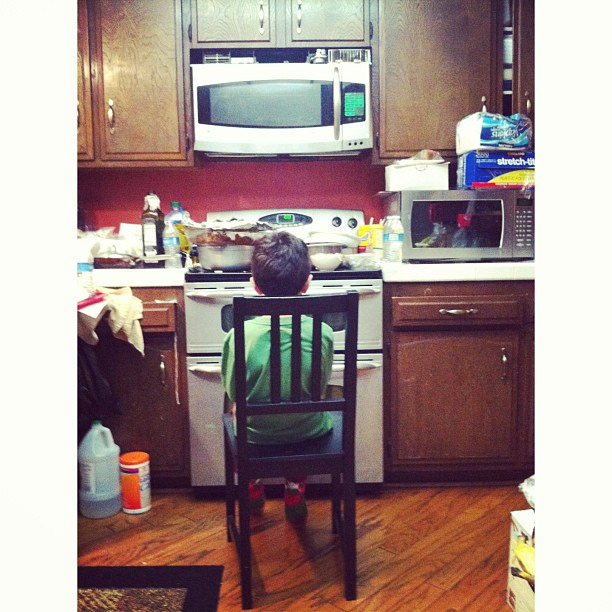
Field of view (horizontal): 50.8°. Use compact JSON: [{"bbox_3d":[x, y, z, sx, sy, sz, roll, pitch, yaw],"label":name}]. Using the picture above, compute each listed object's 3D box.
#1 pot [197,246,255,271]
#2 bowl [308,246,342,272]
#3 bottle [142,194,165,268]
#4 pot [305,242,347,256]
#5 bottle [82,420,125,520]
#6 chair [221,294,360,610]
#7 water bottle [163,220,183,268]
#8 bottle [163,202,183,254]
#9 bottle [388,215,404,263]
[{"bbox_3d":[-0.253,-0.143,1.971,0.187,0.076,0.055,2,5,27],"label":"pot"},{"bbox_3d":[0.063,-0.155,2.018,0.082,0.068,0.084,0,15,0],"label":"bowl"},{"bbox_3d":[-0.554,-0.295,2.343,0.076,0.220,0.225,-2,5,-12],"label":"bottle"},{"bbox_3d":[0.073,-0.180,2.047,0.161,0.043,0.055,-6,7,-43],"label":"pot"},{"bbox_3d":[-0.595,0.479,1.867,0.101,0.284,0.055,-3,5,-26],"label":"bottle"},{"bbox_3d":[-0.041,0.293,1.544,0.319,0.674,0.633,-1,5,-3],"label":"chair"},{"bbox_3d":[-0.462,-0.210,2.231,0.059,0.156,0.144,-2,5,-15],"label":"water bottle"},{"bbox_3d":[-0.481,-0.284,2.331,0.069,0.191,0.259,-2,5,-12],"label":"bottle"},{"bbox_3d":[0.301,-0.221,2.154,0.047,0.155,0.079,0,5,9],"label":"bottle"}]
